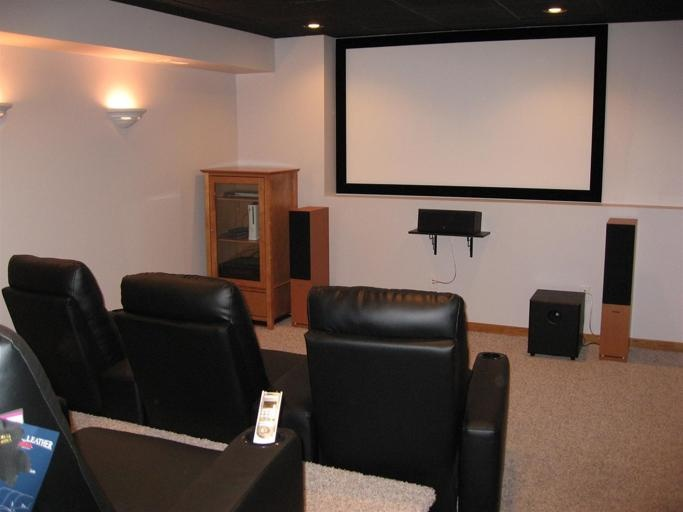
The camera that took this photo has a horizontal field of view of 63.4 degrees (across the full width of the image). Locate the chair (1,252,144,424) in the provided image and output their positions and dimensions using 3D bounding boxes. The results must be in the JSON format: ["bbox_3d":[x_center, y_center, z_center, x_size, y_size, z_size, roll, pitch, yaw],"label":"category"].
[{"bbox_3d":[-1.539,0.402,3.600,1.030,0.979,0.908,5,8,21],"label":"chair"}]

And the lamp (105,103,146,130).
[{"bbox_3d":[-1.951,-1.281,5.125,0.201,0.196,0.415,3,10,23],"label":"lamp"}]

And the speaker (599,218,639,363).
[{"bbox_3d":[2.434,0.321,4.882,0.239,1.223,0.171,4,10,26],"label":"speaker"}]

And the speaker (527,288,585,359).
[{"bbox_3d":[1.989,0.630,5.123,0.440,0.541,0.490,4,10,27],"label":"speaker"}]
